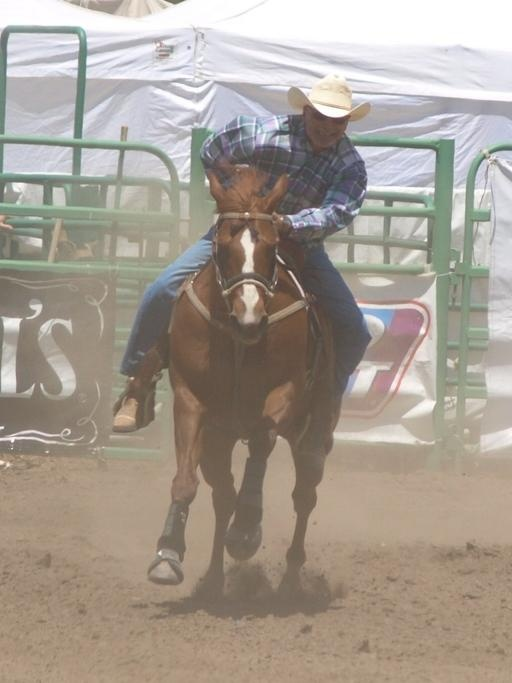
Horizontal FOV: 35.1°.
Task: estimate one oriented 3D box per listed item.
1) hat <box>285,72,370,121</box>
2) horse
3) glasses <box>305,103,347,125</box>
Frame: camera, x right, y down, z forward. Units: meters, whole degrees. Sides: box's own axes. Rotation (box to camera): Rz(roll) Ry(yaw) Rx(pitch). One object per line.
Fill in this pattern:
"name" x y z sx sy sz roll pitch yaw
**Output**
"hat" 0.362 -1.188 3.923 0.417 0.188 0.424 7 13 -4
"horse" -0.045 0.360 4.155 0.816 1.698 2.549 3 -18 6
"glasses" 0.327 -1.068 3.840 0.226 0.099 0.206 4 7 1
